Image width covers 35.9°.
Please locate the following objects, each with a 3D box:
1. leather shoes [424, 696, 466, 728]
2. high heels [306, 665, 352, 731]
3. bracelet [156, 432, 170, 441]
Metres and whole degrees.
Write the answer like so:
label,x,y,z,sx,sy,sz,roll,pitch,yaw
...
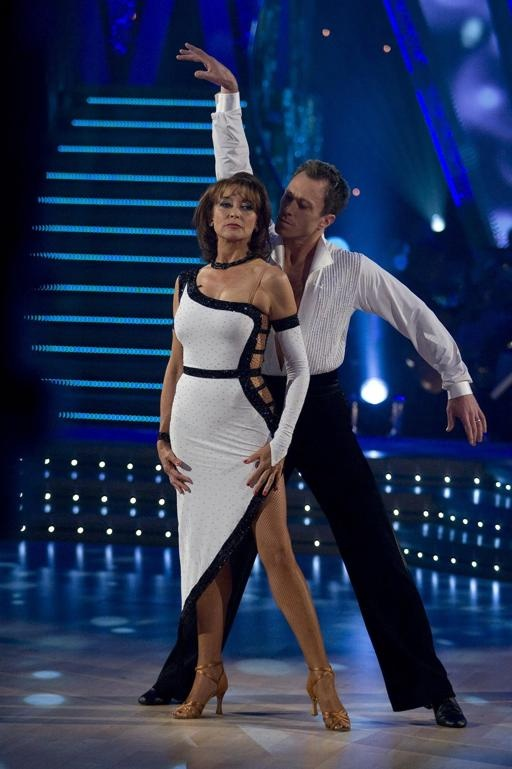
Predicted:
label,x,y,z,sx,sy,sz,roll,pitch,yaw
leather shoes,0.482,0.840,2.003,0.051,0.138,0.055,-15,70,-11
high heels,0.161,0.784,1.947,0.076,0.212,0.098,-13,81,-12
bracelet,-0.256,0.145,2.132,0.026,0.028,0.021,-5,37,0
